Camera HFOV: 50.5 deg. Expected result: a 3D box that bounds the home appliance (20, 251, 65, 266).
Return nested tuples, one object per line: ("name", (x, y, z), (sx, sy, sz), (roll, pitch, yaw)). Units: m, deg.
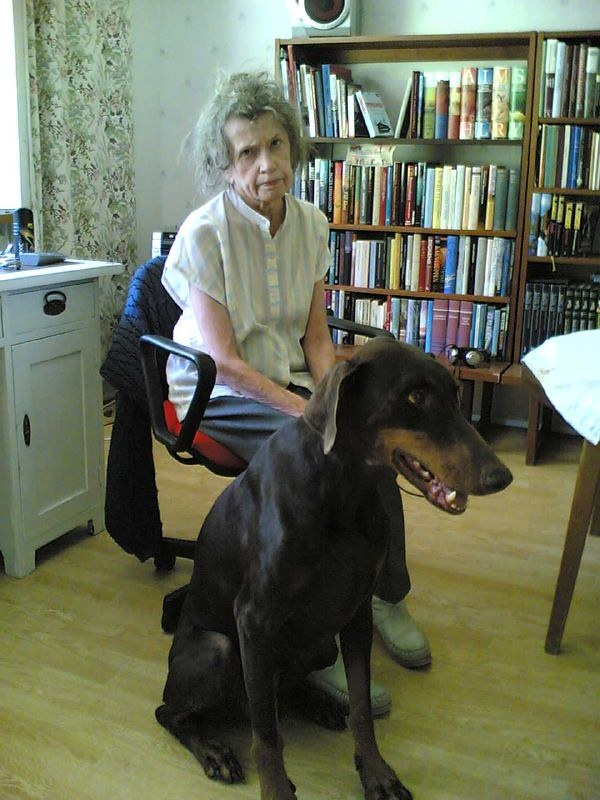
("home appliance", (-0.728, -0.399, 1.813), (0.118, 0.046, 0.200), (-3, 12, -20))
